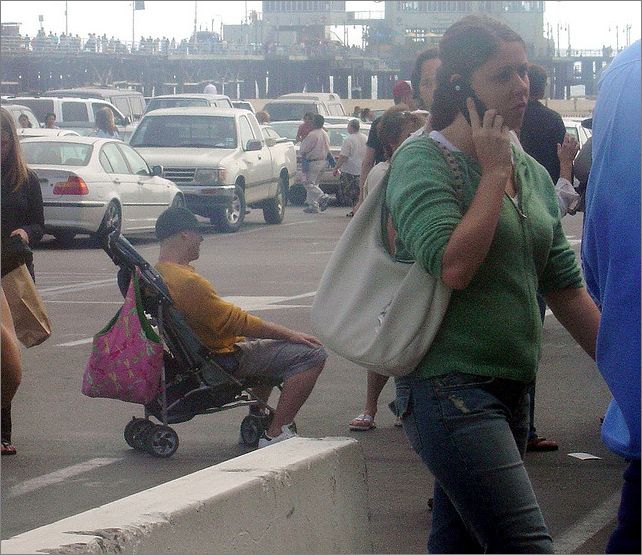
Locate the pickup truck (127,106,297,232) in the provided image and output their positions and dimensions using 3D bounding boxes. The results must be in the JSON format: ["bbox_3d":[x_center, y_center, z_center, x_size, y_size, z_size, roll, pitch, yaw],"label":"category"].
[{"bbox_3d":[-1.626,-1.820,20.100,1.492,1.180,2.924,1,3,10],"label":"pickup truck"}]

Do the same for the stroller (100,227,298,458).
[{"bbox_3d":[-0.657,0.347,7.479,1.205,1.614,0.914,-4,5,-19],"label":"stroller"}]

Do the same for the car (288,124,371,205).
[{"bbox_3d":[-0.001,-2.532,26.687,0.976,1.033,2.274,1,12,10],"label":"car"}]

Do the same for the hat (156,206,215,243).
[{"bbox_3d":[-0.768,-0.296,6.879,0.213,0.145,0.162,-13,14,-20],"label":"hat"}]

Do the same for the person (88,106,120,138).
[{"bbox_3d":[-3.352,-2.488,19.684,0.307,0.449,1.739,-6,3,-10],"label":"person"}]

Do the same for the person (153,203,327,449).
[{"bbox_3d":[-0.433,0.227,6.745,0.894,1.031,0.452,-5,3,6],"label":"person"}]

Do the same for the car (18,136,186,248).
[{"bbox_3d":[-2.927,-1.240,16.969,1.401,1.172,3.397,0,5,20],"label":"car"}]

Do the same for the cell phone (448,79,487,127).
[{"bbox_3d":[0.435,-0.542,3.771,0.032,0.148,0.074,-19,8,-32],"label":"cell phone"}]

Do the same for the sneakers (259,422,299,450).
[{"bbox_3d":[-0.231,0.833,6.611,0.204,0.102,0.381,-6,3,-4],"label":"sneakers"}]
